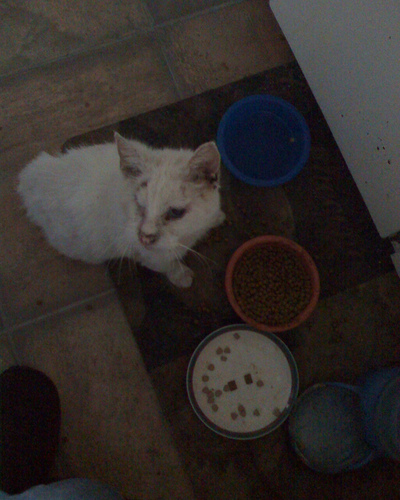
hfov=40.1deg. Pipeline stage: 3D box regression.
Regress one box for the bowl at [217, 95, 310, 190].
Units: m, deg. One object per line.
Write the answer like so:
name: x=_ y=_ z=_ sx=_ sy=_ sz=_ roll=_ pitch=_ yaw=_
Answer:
bowl: x=0.314 y=-0.527 z=2.770 sx=0.452 sy=0.185 sz=0.472 roll=0 pitch=81 yaw=2
